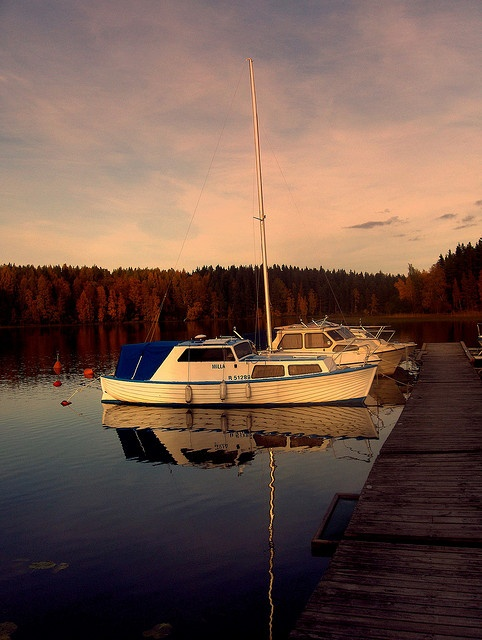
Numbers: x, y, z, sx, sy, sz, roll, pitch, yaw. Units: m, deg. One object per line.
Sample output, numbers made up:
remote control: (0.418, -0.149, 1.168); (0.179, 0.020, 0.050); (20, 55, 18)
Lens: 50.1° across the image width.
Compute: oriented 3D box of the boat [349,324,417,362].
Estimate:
boat: (9.648, 1.486, 34.690); (2.600, 2.259, 7.287); (-7, 2, -27)
